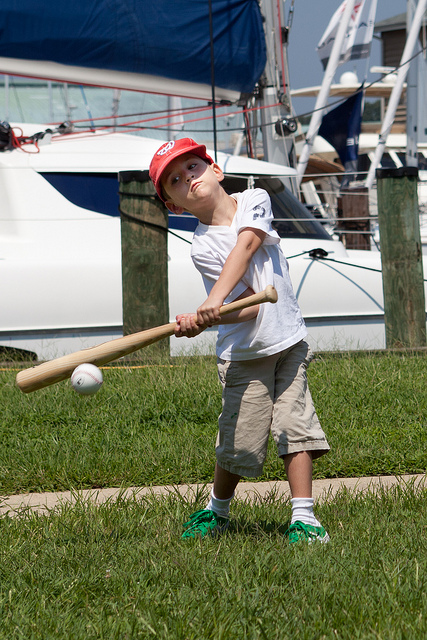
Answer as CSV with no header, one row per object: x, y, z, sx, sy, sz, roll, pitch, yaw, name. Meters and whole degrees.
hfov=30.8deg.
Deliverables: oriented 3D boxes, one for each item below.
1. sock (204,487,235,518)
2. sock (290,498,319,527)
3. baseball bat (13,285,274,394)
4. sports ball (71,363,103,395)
0.016,0.599,2.559,0.088,0.091,0.082,0,7,-3,sock
0.281,0.579,2.352,0.081,0.090,0.071,1,7,7,sock
-0.458,0.097,4.067,1.481,0.176,0.172,-20,35,2,baseball bat
-0.356,0.172,2.253,0.092,0.085,0.087,13,30,-8,sports ball
